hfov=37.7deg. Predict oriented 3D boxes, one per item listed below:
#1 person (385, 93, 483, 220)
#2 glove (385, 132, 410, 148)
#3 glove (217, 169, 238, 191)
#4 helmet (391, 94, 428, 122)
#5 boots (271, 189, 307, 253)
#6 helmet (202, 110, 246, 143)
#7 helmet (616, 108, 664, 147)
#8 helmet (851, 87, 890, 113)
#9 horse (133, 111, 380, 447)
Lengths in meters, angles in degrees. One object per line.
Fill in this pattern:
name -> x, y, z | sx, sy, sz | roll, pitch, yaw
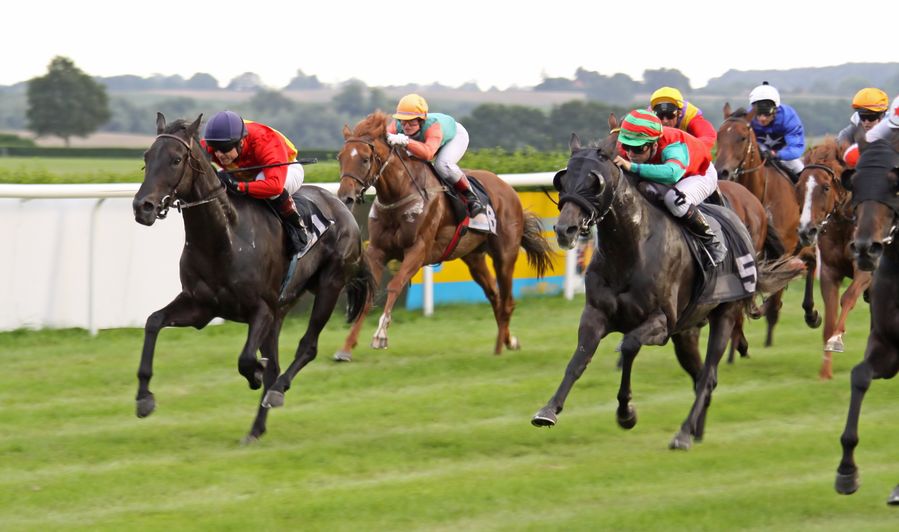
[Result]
person -> -0.197, -1.056, 12.411 | 0.927, 1.022, 0.662 | -2, 15, -10
glove -> -0.475, -1.165, 12.064 | 0.168, 0.109, 0.059 | -1, -36, -21
glove -> -1.743, -0.675, 10.323 | 0.137, 0.161, 0.082 | -20, 8, 5
helmet -> -0.350, -1.468, 12.216 | 0.219, 0.158, 0.317 | 9, 12, 36
boots -> -1.273, -0.351, 10.546 | 0.375, 0.441, 0.163 | -21, 13, -10
helmet -> -1.759, -1.075, 10.230 | 0.223, 0.170, 0.290 | 9, 41, 12
helmet -> 1.440, -1.085, 10.314 | 0.326, 0.216, 0.465 | 9, 18, 35
helmet -> 3.982, -1.555, 12.378 | 0.239, 0.145, 0.338 | 3, 6, 32
horse -> -1.626, 0.069, 10.545 | 0.714, 2.606, 1.988 | 3, 9, 39
